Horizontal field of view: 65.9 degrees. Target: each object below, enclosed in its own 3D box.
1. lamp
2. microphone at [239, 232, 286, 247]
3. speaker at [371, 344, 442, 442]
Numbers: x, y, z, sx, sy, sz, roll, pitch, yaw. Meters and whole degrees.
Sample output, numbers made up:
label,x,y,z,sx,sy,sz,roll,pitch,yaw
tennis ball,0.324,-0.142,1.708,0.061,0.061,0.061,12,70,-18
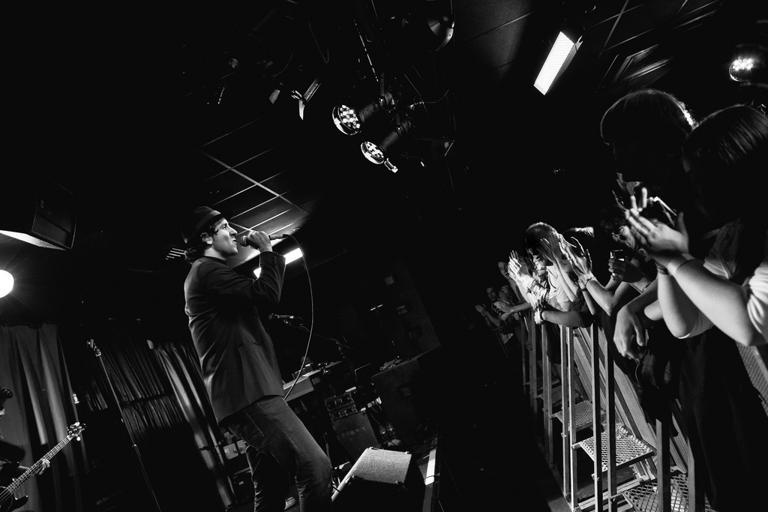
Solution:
label,x,y,z,sx,sy,sz,roll,pitch,yaw
lamp,-0.131,-1.442,5.067,1.658,0.713,1.199,-19,-19,11
microphone,-1.165,-0.142,5.677,0.446,0.118,0.148,-4,-9,-6
speaker,0.325,1.568,6.567,0.271,0.869,1.047,-26,-21,29
